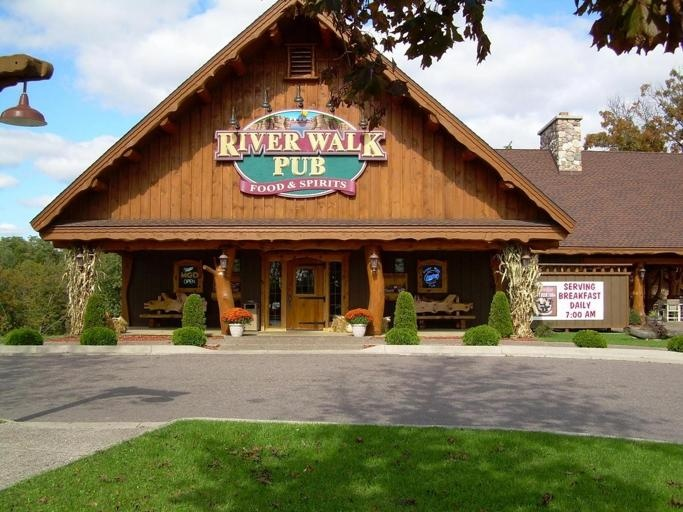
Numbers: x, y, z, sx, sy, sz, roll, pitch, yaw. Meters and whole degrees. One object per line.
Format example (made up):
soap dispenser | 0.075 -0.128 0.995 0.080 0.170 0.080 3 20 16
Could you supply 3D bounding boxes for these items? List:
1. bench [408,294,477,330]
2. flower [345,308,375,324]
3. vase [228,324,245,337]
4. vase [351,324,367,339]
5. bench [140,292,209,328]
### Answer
bench | 4.060 2.145 25.022 2.195 1.197 1.243 1 -1 -2
flower | 0.657 2.012 21.521 0.589 0.437 0.784 1 0 2
vase | -3.621 2.481 21.511 0.408 0.342 0.434 -2 -4 11
vase | 0.588 2.507 21.294 0.418 0.348 0.443 1 -10 -7
bench | -6.780 2.110 24.941 2.329 1.364 0.936 -1 1 -5
